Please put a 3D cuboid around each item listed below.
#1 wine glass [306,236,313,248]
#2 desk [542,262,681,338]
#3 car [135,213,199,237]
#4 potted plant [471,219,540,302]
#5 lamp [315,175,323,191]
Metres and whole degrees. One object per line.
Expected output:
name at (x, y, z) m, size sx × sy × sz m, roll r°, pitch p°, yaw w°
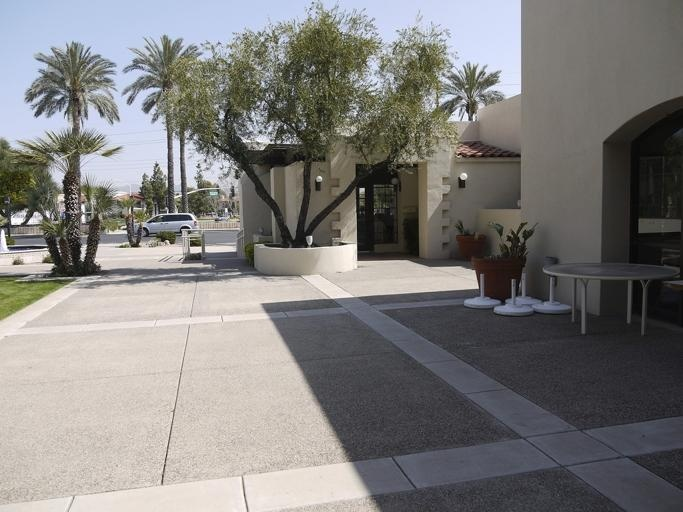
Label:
wine glass at (-0.967, -0.429, 14.485) m, size 0.165 × 0.330 × 0.754 m, roll -2°, pitch 6°, yaw -9°
desk at (3.915, 0.308, 6.907) m, size 1.315 × 0.695 × 1.363 m, roll -4°, pitch 4°, yaw -18°
car at (-12.941, -2.300, 35.710) m, size 4.473 × 1.720 × 1.308 m, roll -1°, pitch 6°, yaw 10°
potted plant at (3.286, 0.113, 9.481) m, size 1.100 × 1.516 × 1.959 m, roll 2°, pitch 6°, yaw 27°
lamp at (-0.712, -2.362, 15.649) m, size 0.264 × 0.495 × 0.251 m, roll -2°, pitch 6°, yaw -9°
